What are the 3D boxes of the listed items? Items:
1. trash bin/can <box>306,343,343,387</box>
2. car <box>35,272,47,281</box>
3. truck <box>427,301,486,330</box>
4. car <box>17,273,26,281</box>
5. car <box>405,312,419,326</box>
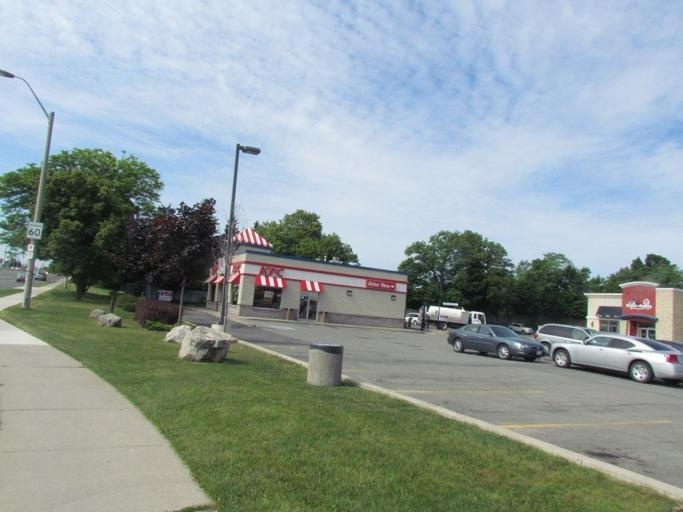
[{"bbox_3d":[-0.412,2.741,12.052,0.958,1.041,0.955,4,1,-35],"label":"trash bin/can"},{"bbox_3d":[-54.348,3.681,85.441,1.157,0.845,2.494,1,3,-12],"label":"car"},{"bbox_3d":[12.481,6.951,54.336,6.708,3.313,3.442,-1,-2,8],"label":"truck"},{"bbox_3d":[-43.675,2.851,64.249,0.954,0.710,2.107,2,1,-22],"label":"car"},{"bbox_3d":[8.778,7.881,58.655,1.366,1.089,2.122,1,0,14],"label":"car"}]
